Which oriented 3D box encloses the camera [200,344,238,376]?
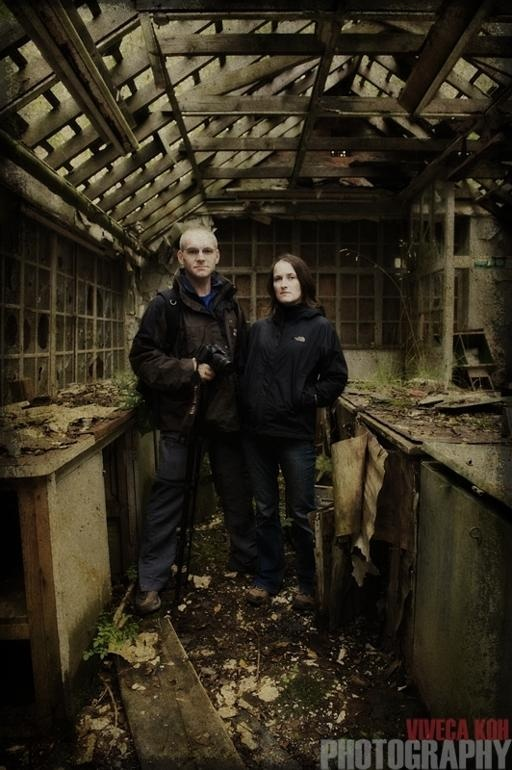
[{"bbox_3d":[-0.221,-0.142,2.938,0.079,0.146,0.181,-42,-1,-14],"label":"camera"}]

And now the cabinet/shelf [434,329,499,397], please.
[{"bbox_3d":[2.332,-0.299,5.806,0.430,0.602,1.248,2,5,20],"label":"cabinet/shelf"}]

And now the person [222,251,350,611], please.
[{"bbox_3d":[0.190,0.256,3.014,0.598,1.926,0.349,1,4,9],"label":"person"}]
